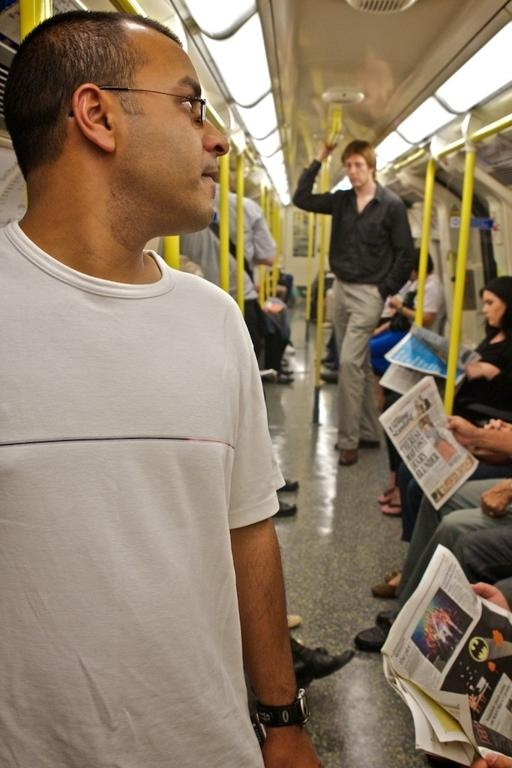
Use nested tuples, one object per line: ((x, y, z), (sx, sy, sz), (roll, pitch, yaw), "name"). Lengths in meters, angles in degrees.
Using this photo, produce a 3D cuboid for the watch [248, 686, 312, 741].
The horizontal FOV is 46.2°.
((0.041, 0.488, 0.932), (0.105, 0.074, 0.100), (-3, -10, -4), "watch")
